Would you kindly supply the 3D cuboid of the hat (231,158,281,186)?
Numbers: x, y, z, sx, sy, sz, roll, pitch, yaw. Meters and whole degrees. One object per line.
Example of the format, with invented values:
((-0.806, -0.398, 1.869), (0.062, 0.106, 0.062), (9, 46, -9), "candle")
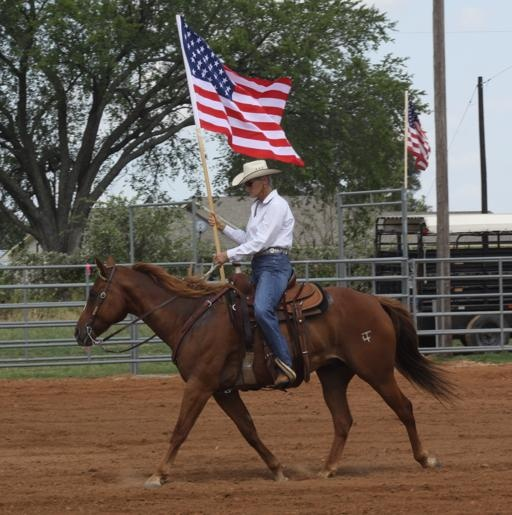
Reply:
((-0.024, -1.075, 14.518), (0.517, 0.172, 0.378), (-19, 6, -26), "hat")

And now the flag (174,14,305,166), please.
((-0.258, -2.241, 15.372), (1.460, 1.964, 0.868), (-3, 15, -4), "flag")
